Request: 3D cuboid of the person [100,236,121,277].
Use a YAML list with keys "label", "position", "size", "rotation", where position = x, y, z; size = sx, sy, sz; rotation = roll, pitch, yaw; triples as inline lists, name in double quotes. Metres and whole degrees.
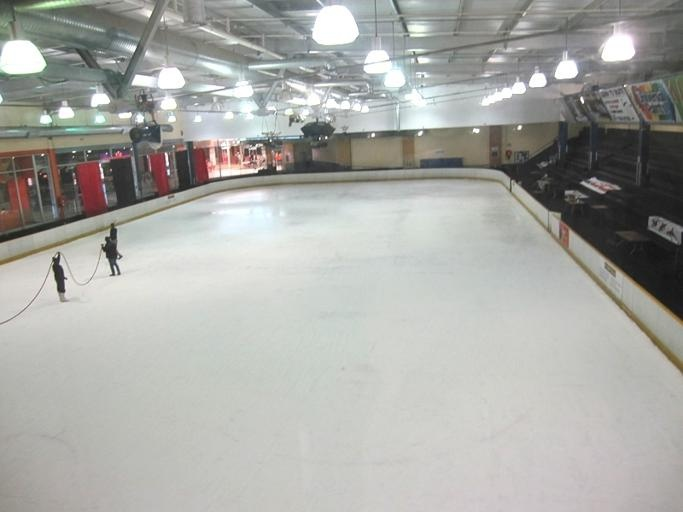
- label: "person"
  position: [-5.997, -0.057, 11.686]
  size: [0.328, 1.052, 0.919]
  rotation: [-14, 18, -27]
